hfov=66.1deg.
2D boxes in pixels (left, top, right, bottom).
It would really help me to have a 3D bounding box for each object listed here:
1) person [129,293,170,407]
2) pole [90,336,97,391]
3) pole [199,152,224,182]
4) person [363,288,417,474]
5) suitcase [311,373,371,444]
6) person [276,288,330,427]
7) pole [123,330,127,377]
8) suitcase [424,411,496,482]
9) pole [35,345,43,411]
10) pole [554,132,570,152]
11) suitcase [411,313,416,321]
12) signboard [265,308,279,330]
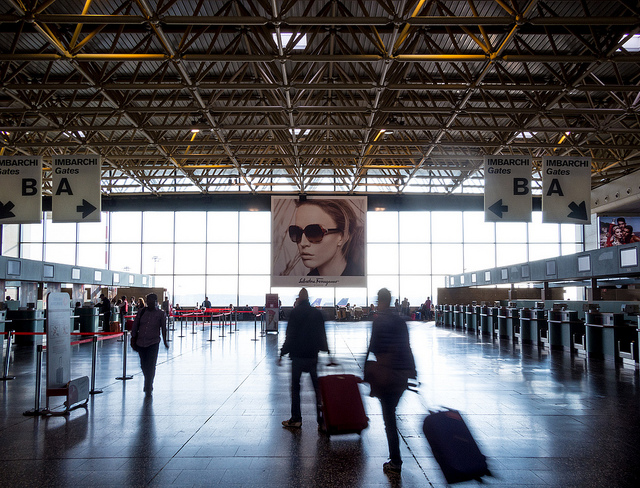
[{"bbox_3d":[-3.357,1.977,9.721,0.660,1.961,0.415,1,-6,-22],"label":"person"},{"bbox_3d":[-4.562,2.390,9.943,0.085,1.054,0.482,2,-6,-26],"label":"pole"},{"bbox_3d":[-6.584,-4.366,29.319,0.635,0.791,3.267,1,-6,-22],"label":"pole"},{"bbox_3d":[0.891,1.732,6.321,0.647,2.309,0.305,-2,-6,8],"label":"person"},{"bbox_3d":[0.313,2.439,7.462,0.765,0.885,0.735,-1,-5,1],"label":"suitcase"},{"bbox_3d":[-0.246,1.766,7.656,0.718,2.135,0.369,-1,-6,-3],"label":"person"},{"bbox_3d":[-4.313,2.449,10.936,0.051,1.017,0.566,1,-6,-23],"label":"pole"},{"bbox_3d":[1.733,2.598,6.223,0.578,1.029,0.356,-11,-30,-20],"label":"suitcase"},{"bbox_3d":[-4.919,2.334,8.644,0.071,1.119,0.422,2,-6,-30],"label":"pole"},{"bbox_3d":[10.789,-4.604,22.018,0.425,0.734,2.436,-4,-6,26],"label":"pole"},{"bbox_3d":[6.706,5.334,35.710,0.497,0.529,1.241,-3,-15,6],"label":"suitcase"},{"bbox_3d":[-2.210,3.454,22.579,0.550,1.004,0.711,-1,-5,-3],"label":"signboard"}]
